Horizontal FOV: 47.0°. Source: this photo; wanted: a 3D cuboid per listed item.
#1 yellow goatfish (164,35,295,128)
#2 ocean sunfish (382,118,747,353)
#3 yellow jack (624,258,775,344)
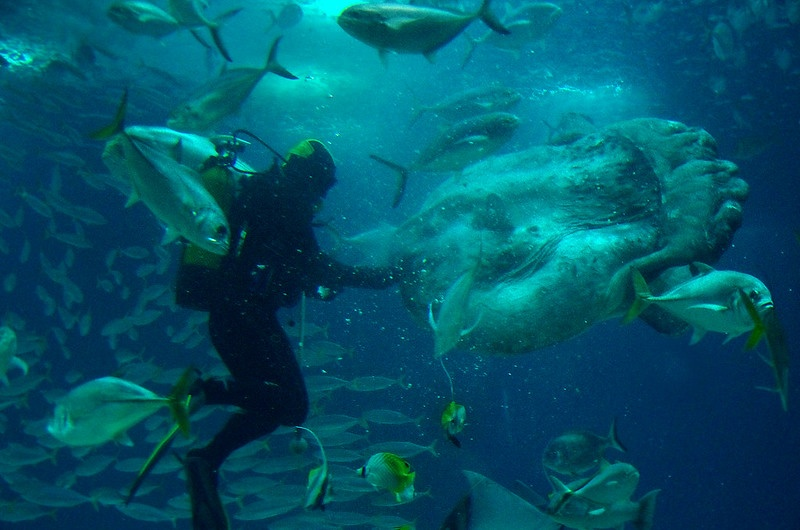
[{"bbox_3d":[-4.692,-4.812,25.510,4.078,0.865,1.705,-23,66,20],"label":"yellow goatfish"},{"bbox_3d":[4.606,-1.031,24.995,8.959,2.295,6.022,-22,69,7],"label":"ocean sunfish"},{"bbox_3d":[7.910,0.937,23.986,3.732,1.098,1.954,-4,85,33],"label":"yellow jack"}]
